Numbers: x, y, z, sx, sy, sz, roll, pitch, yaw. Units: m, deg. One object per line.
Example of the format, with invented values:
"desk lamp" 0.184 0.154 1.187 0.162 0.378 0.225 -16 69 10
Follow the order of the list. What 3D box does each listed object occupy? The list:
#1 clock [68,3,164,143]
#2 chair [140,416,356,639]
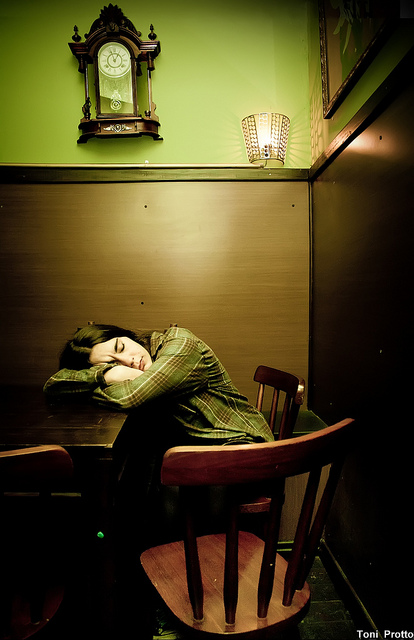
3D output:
"clock" -0.439 -1.185 2.326 0.425 0.614 0.158 -4 13 -14
"chair" 0.080 0.446 1.204 0.454 0.483 0.373 -6 14 -22
